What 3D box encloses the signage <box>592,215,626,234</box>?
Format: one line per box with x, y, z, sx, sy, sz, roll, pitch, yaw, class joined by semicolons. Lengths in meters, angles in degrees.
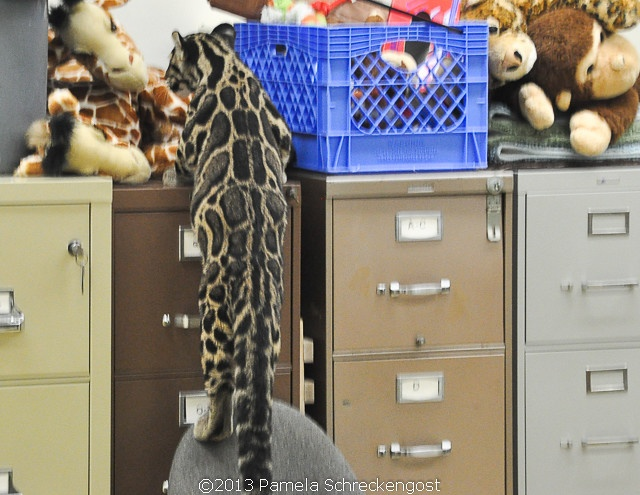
0.823;-0.069;4.006;0.074;0.055;0.058;-1;3;-2;signage

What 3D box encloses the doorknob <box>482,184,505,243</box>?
0.491;-0.106;3.971;0.039;0.194;0.041;-4;19;-6;doorknob

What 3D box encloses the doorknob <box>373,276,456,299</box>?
0.264;0.115;3.949;0.212;0.053;0.016;-4;10;-6;doorknob

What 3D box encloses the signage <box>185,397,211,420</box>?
-0.337;0.437;3.880;0.073;0.085;0.059;1;2;-8;signage

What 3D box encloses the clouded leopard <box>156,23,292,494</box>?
-0.240;0.032;3.684;0.255;1.216;0.408;1;-21;-15;clouded leopard

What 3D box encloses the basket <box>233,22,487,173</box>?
0.123;-0.421;4.066;0.442;0.323;0.468;-1;5;-19;basket

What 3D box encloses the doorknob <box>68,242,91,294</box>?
-0.635;0.047;3.732;0.044;0.143;0.031;-12;27;-28;doorknob
